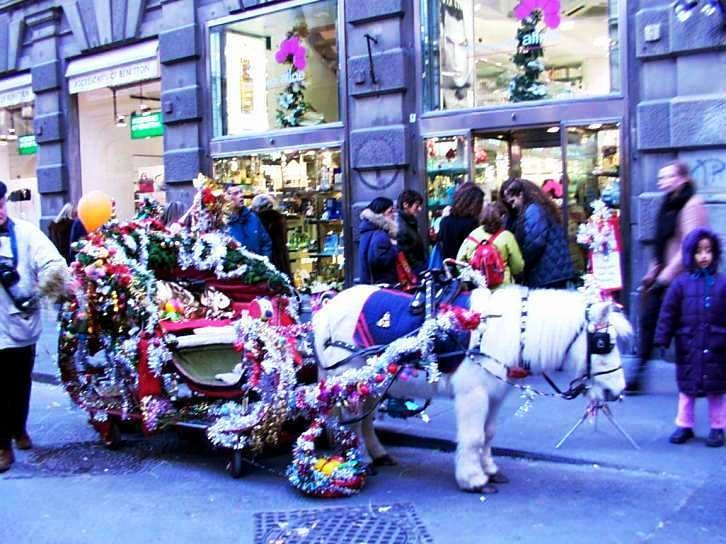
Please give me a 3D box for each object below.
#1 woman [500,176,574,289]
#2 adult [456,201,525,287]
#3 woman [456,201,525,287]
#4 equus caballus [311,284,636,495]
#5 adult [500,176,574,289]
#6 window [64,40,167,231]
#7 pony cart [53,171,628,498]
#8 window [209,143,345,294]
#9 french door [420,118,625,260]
[{"bbox_3d":[1.785,-0.217,7.434,0.678,1.447,0.593,-6,16,21],"label":"woman"},{"bbox_3d":[1.195,-0.165,7.064,0.716,0.958,0.522,2,41,10],"label":"adult"},{"bbox_3d":[1.209,-0.162,7.063,0.714,0.957,0.510,0,42,6],"label":"woman"},{"bbox_3d":[0.742,0.865,5.571,2.274,1.507,0.700,1,3,20],"label":"equus caballus"},{"bbox_3d":[1.778,-0.226,7.436,0.684,1.449,0.583,1,21,37],"label":"adult"},{"bbox_3d":[-4.601,-2.487,13.833,1.661,3.117,1.037,-6,-14,-4],"label":"window"},{"bbox_3d":[-0.126,0.542,6.352,5.391,2.442,2.032,1,8,19],"label":"pony cart"},{"bbox_3d":[-1.103,-0.877,11.240,2.228,2.205,0.796,0,13,21],"label":"window"},{"bbox_3d":[1.974,-0.929,9.347,2.282,2.023,0.836,-1,7,14],"label":"french door"}]
